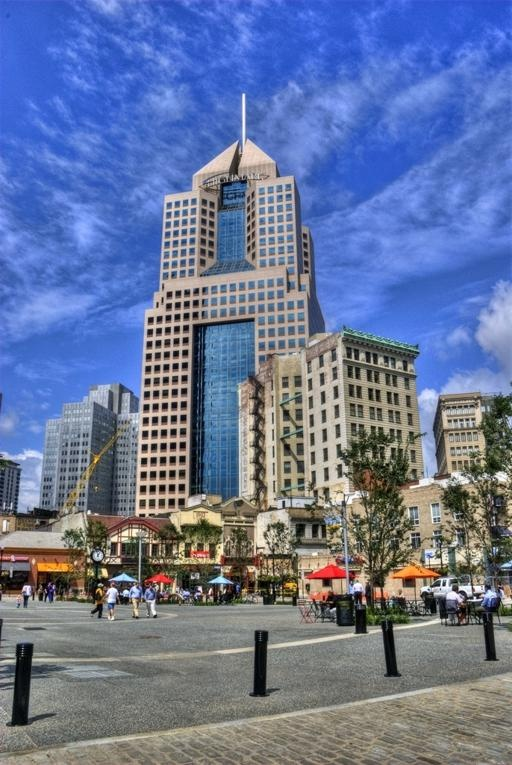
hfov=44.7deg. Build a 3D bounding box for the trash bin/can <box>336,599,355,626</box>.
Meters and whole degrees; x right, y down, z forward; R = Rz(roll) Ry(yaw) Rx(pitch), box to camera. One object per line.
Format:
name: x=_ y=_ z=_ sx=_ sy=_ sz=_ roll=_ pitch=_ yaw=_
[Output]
trash bin/can: x=3.449 y=9.019 z=24.424 sx=0.654 sy=1.032 sz=1.168 roll=-3 pitch=-16 yaw=6
